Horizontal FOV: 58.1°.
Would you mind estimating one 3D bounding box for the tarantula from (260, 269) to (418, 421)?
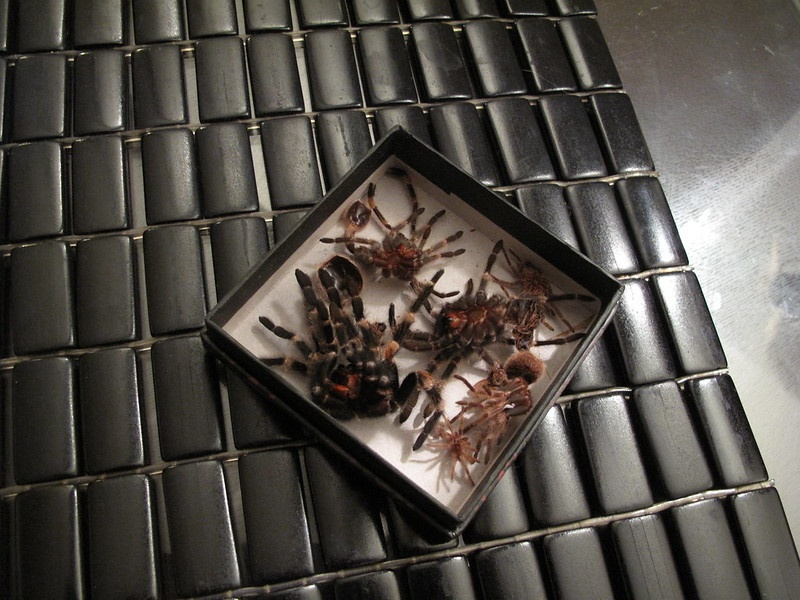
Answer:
[{"bbox_3d":[-0.109,0.122,1.522,0.356,0.138,0.356,5,46,-12],"label":"tarantula"}]

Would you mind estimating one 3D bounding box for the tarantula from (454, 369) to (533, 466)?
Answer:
[{"bbox_3d":[0.186,0.242,1.503,0.185,0.071,0.144,-41,101,-14],"label":"tarantula"}]

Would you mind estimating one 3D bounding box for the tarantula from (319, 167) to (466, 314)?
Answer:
[{"bbox_3d":[-0.015,-0.135,1.590,0.292,0.077,0.294,-32,74,-27],"label":"tarantula"}]

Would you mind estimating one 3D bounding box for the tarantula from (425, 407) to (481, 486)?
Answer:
[{"bbox_3d":[0.107,0.312,1.496,0.138,0.052,0.144,-1,83,4],"label":"tarantula"}]
